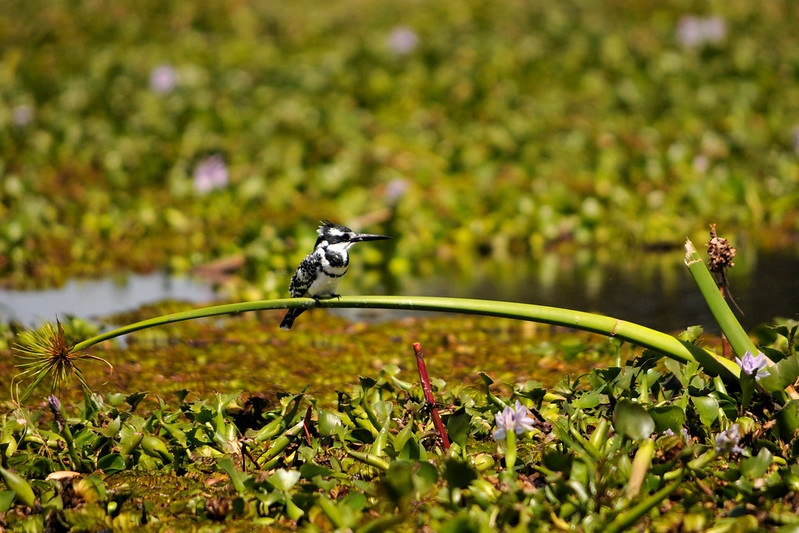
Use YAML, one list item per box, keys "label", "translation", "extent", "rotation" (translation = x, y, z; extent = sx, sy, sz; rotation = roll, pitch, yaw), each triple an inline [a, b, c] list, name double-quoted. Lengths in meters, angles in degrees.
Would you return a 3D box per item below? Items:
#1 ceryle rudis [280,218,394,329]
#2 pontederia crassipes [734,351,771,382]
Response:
- label: "ceryle rudis"
  translation: [-0.367, 0.009, 4.606]
  extent: [0.239, 0.430, 0.886]
  rotation: [3, -7, -37]
- label: "pontederia crassipes"
  translation: [1.297, 0.363, 3.383]
  extent: [0.127, 0.111, 0.092]
  rotation: [3, 20, 32]
